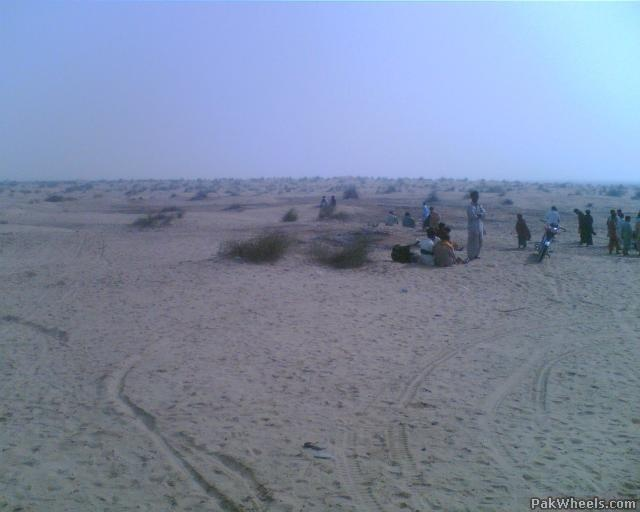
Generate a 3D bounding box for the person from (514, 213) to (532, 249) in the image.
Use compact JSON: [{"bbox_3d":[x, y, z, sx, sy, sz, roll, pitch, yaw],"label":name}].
[{"bbox_3d":[6.775,-0.853,17.988,0.440,1.257,1.966,1,10,21],"label":"person"}]
